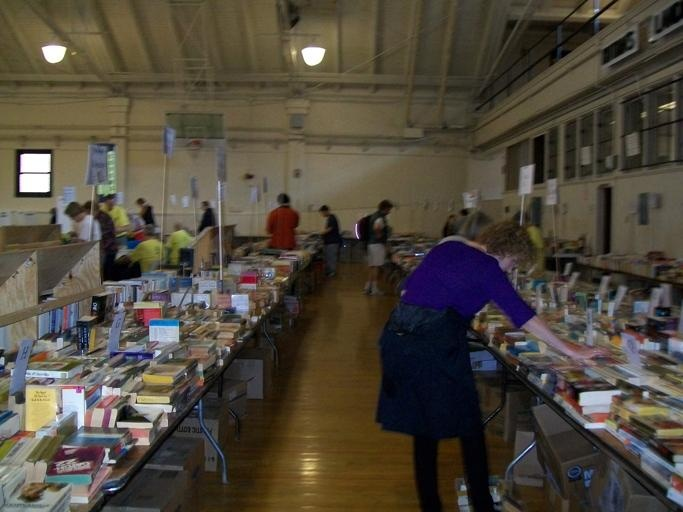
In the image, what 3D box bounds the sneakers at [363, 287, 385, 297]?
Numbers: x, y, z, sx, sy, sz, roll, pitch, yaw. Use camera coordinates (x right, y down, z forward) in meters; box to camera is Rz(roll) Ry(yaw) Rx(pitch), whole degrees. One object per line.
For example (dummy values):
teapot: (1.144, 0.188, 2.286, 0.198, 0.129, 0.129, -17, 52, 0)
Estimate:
sneakers: (0.575, 0.618, 8.916, 0.360, 0.243, 0.118, -1, 5, 18)
